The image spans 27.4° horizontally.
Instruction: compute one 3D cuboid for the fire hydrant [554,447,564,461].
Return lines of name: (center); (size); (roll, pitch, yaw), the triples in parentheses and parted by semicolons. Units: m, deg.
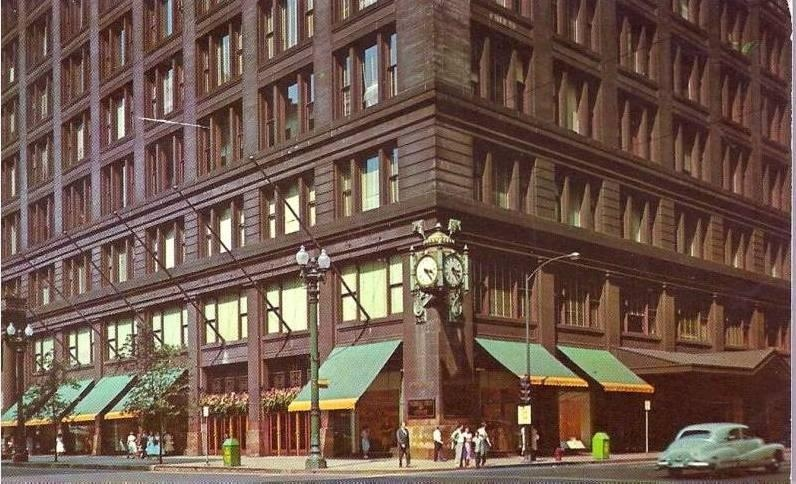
fire hydrant: (8.910, 11.846, 91.929); (0.691, 0.829, 0.398); (9, 5, 42)
